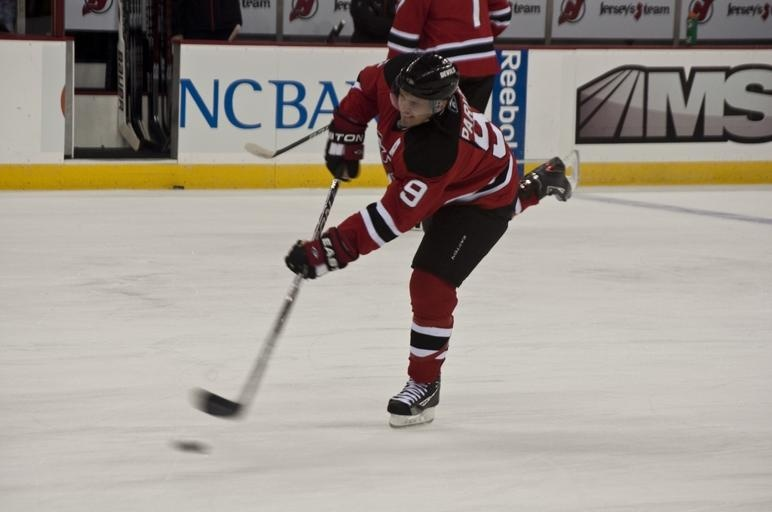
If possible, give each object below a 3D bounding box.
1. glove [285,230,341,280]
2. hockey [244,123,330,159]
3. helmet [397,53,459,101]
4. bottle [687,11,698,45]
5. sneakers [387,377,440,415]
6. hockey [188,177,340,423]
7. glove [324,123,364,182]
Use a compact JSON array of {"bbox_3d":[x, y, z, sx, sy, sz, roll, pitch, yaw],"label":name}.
[{"bbox_3d":[-0.321,-0.005,5.294,0.254,0.246,0.138,4,13,-3],"label":"glove"},{"bbox_3d":[-0.588,-0.676,7.097,0.269,0.229,0.946,20,4,8],"label":"hockey"},{"bbox_3d":[0.173,-0.804,5.179,0.252,0.187,0.198,-23,52,-25],"label":"helmet"},{"bbox_3d":[2.638,-1.959,10.035,0.096,0.259,0.243,8,13,12],"label":"bottle"},{"bbox_3d":[0.137,0.662,5.431,0.128,0.141,0.377,5,4,33],"label":"sneakers"},{"bbox_3d":[-0.566,0.328,5.451,0.293,1.609,0.162,30,-19,-9],"label":"hockey"},{"bbox_3d":[-0.181,-0.532,5.889,0.217,0.294,0.230,-1,12,-20],"label":"glove"}]
